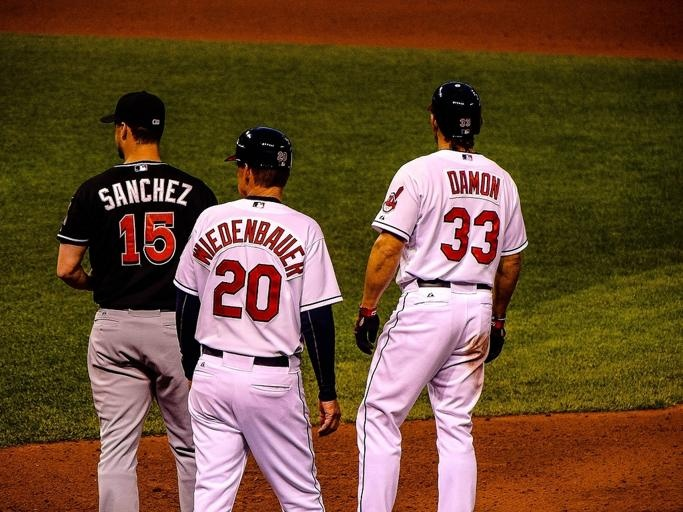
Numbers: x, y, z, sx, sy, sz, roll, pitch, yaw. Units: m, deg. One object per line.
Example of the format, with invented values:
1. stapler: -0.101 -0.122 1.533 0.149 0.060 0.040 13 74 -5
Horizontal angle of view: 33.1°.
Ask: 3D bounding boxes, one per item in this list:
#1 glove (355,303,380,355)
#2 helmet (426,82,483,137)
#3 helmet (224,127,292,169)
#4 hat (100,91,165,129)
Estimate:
1. glove: 0.267 0.700 10.807 0.179 0.481 0.218 2 -1 -14
2. helmet: 1.057 -1.325 10.714 0.404 0.432 0.530 -1 48 -6
3. helmet: -0.702 -0.944 10.286 0.462 0.233 0.340 10 6 9
4. hat: -1.920 -1.360 10.741 0.490 0.273 0.358 5 8 3
